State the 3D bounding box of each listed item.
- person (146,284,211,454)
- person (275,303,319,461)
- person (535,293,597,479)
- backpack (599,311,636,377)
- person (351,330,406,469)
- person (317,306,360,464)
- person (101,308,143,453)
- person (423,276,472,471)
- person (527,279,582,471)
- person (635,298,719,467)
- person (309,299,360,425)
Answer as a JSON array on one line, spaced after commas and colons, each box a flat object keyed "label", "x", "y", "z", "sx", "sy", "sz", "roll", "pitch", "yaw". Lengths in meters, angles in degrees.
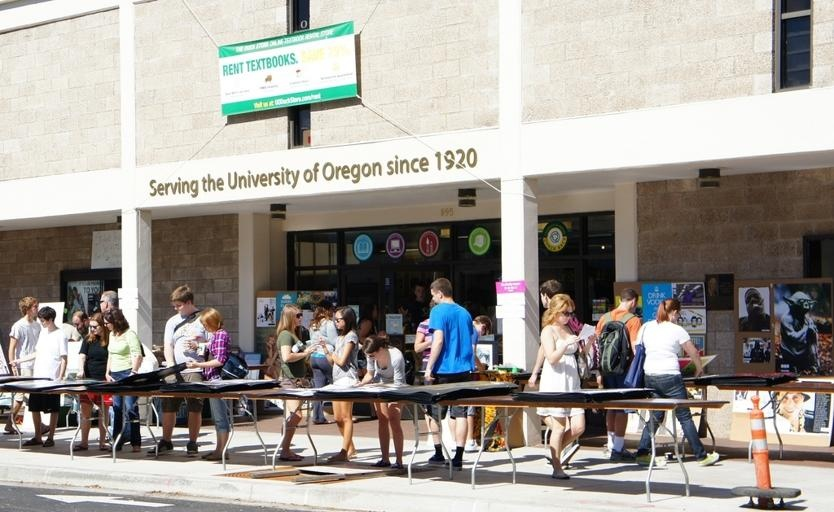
[{"label": "person", "x": -4.097, "y": 2.007, "z": 23.239, "sx": 0.832, "sy": 2.891, "sz": 0.891, "roll": 1, "pitch": -1, "yaw": 2}, {"label": "person", "x": -2.121, "y": 2.133, "z": 22.929, "sx": 0.911, "sy": 2.382, "sz": 0.693, "roll": -1, "pitch": -3, "yaw": 28}, {"label": "person", "x": 2.353, "y": 2.114, "z": 21.508, "sx": 0.827, "sy": 2.905, "sz": 0.908, "roll": 2, "pitch": -5, "yaw": -36}, {"label": "backpack", "x": 3.329, "y": 1.495, "z": 22.590, "sx": 0.478, "sy": 1.029, "sz": 0.461, "roll": -1, "pitch": -1, "yaw": 2}, {"label": "person", "x": -0.612, "y": 2.433, "z": 22.104, "sx": 0.656, "sy": 2.171, "sz": 1.026, "roll": -4, "pitch": -3, "yaw": 41}, {"label": "person", "x": -1.291, "y": 2.187, "z": 22.464, "sx": 0.767, "sy": 2.438, "sz": 0.596, "roll": 0, "pitch": -1, "yaw": -40}, {"label": "person", "x": -5.217, "y": 2.201, "z": 23.852, "sx": 0.714, "sy": 2.537, "sz": 0.660, "roll": 2, "pitch": -1, "yaw": 14}, {"label": "person", "x": 0.421, "y": 2.039, "z": 22.362, "sx": 1.066, "sy": 2.922, "sz": 0.946, "roll": 2, "pitch": -3, "yaw": -40}, {"label": "person", "x": 2.241, "y": 1.669, "z": 22.309, "sx": 0.747, "sy": 3.761, "sz": 1.355, "roll": -4, "pitch": -7, "yaw": 35}, {"label": "person", "x": 4.331, "y": 1.862, "z": 22.301, "sx": 1.081, "sy": 3.276, "sz": 1.108, "roll": -2, "pitch": -3, "yaw": 33}, {"label": "person", "x": -1.522, "y": 2.005, "z": 24.678, "sx": 0.925, "sy": 2.568, "sz": 0.930, "roll": 1, "pitch": -1, "yaw": -9}]
